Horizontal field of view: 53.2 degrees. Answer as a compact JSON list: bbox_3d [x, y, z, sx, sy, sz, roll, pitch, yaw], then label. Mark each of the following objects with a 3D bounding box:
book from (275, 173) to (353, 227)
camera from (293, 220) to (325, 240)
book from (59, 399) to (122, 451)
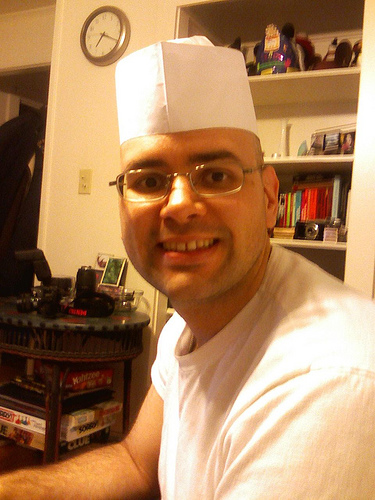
[{"bbox_3d":[0.682,-0.221,2.051,0.334,0.345,0.191,1,-22,26],"label":"book"},{"bbox_3d":[0.609,-0.098,1.899,0.155,0.111,0.084,3,-5,43],"label":"camera"},{"bbox_3d":[-0.482,0.783,1.716,0.178,0.152,0.312,6,-7,28],"label":"book"}]
